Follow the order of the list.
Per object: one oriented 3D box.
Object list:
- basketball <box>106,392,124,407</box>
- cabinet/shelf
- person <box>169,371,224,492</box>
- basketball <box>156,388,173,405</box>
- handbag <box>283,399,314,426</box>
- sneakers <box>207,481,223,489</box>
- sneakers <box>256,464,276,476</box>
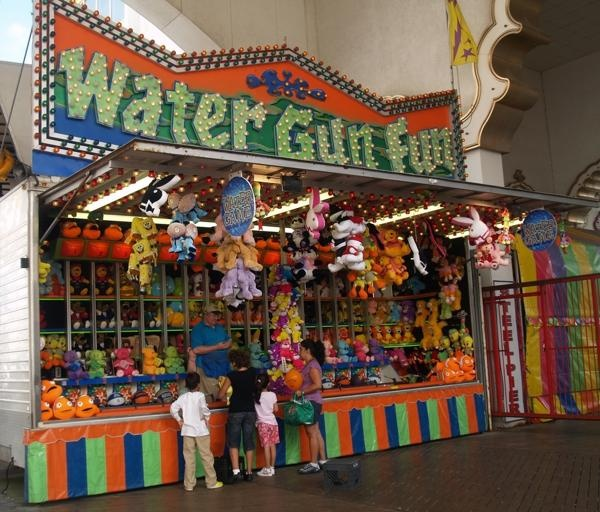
[{"bbox_3d":[-2.374,1.867,8.285,0.216,0.164,0.303,-3,-7,-16],"label":"basketball"},{"bbox_3d":[-0.384,0.836,9.160,6.213,2.387,3.355,-2,-7,-21],"label":"cabinet/shelf"},{"bbox_3d":[-1.112,1.850,6.838,0.497,1.215,0.444,-4,-7,-9],"label":"person"},{"bbox_3d":[-1.790,1.864,8.493,0.139,0.155,0.163,12,-15,7],"label":"basketball"},{"bbox_3d":[0.003,1.740,7.099,0.370,0.344,0.190,-13,-28,38],"label":"handbag"},{"bbox_3d":[-0.889,2.415,6.718,0.154,0.064,0.061,0,2,-39],"label":"sneakers"},{"bbox_3d":[-0.381,2.404,7.152,0.184,0.075,0.101,1,-8,13],"label":"sneakers"}]
